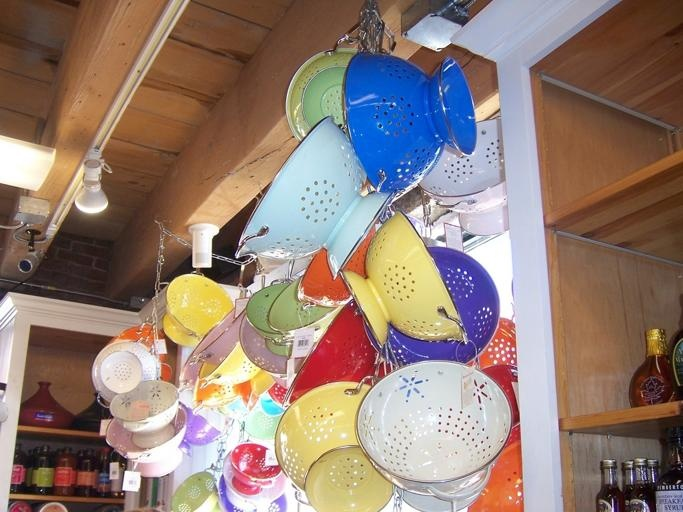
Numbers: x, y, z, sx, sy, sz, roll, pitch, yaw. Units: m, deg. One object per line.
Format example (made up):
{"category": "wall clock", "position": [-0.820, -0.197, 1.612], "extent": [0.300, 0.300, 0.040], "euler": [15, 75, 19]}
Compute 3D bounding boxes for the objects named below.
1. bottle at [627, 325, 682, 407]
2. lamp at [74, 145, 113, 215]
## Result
{"category": "bottle", "position": [0.661, 0.237, 1.175], "extent": [0.073, 0.149, 0.119], "euler": [7, -22, -15]}
{"category": "lamp", "position": [-1.140, -0.360, 2.565], "extent": [0.144, 0.164, 0.306], "euler": [36, -56, 13]}
